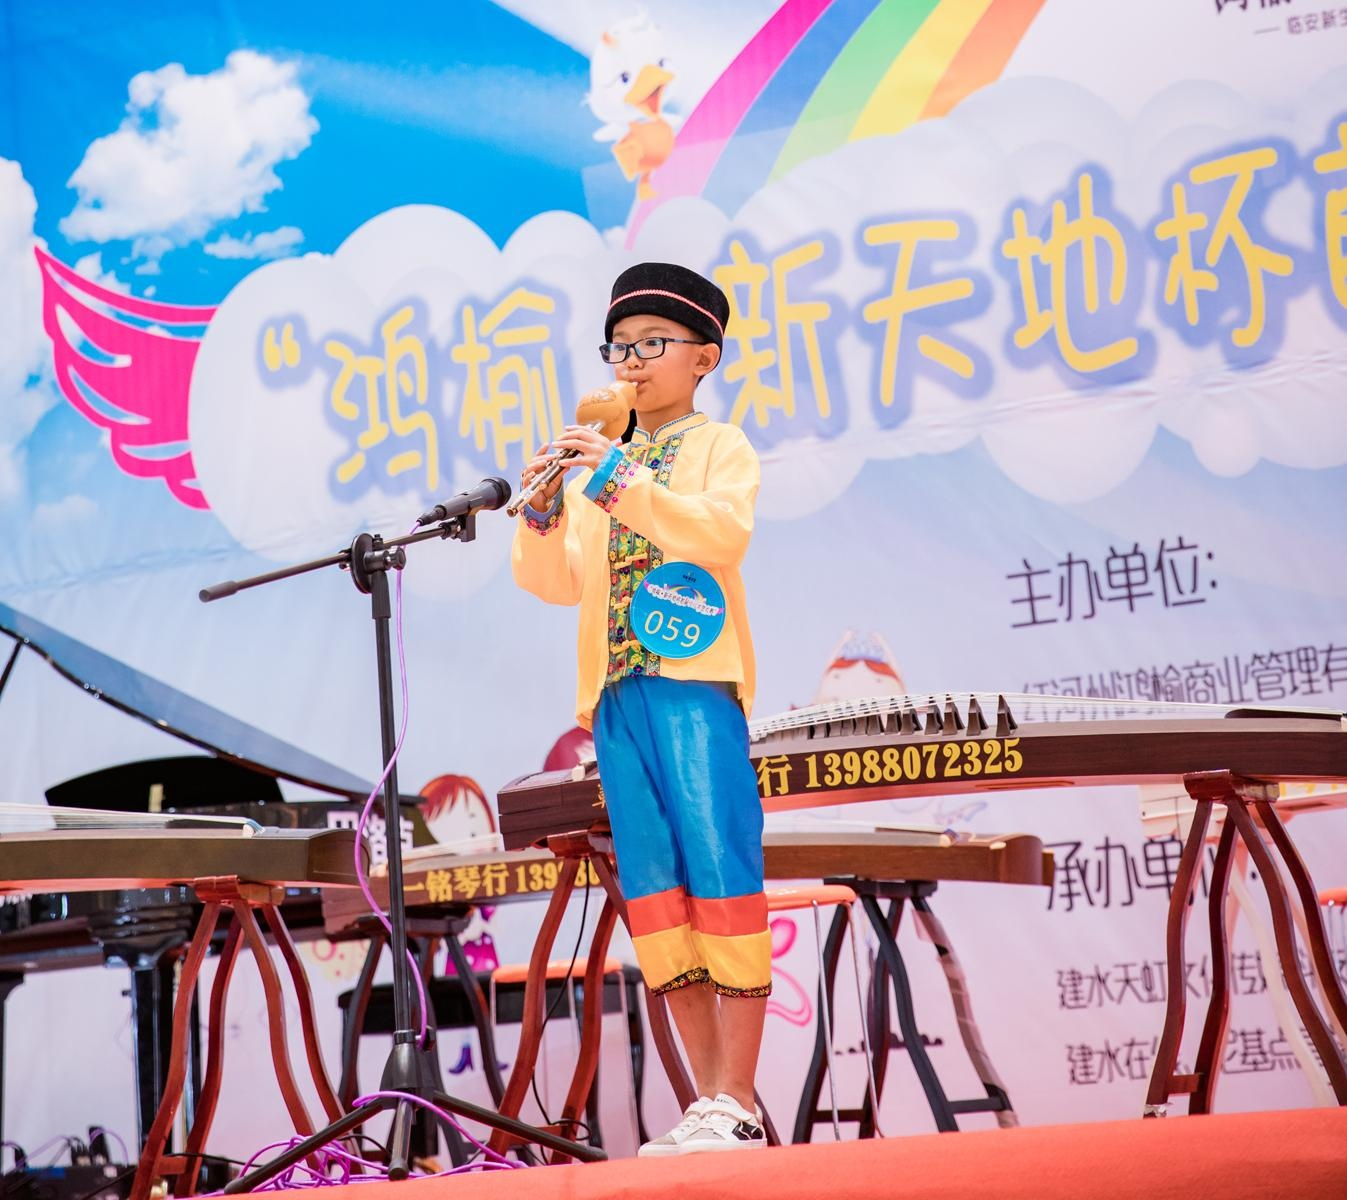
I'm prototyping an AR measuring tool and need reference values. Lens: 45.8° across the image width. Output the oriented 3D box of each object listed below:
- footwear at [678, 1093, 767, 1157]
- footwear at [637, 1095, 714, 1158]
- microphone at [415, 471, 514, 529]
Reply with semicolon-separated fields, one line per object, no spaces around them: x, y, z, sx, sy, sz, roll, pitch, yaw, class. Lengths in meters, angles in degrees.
0.067;0.800;2.419;0.068;0.078;0.159;-8;-20;23;footwear
0.001;0.822;2.498;0.060;0.089;0.190;-2;-15;30;footwear
-0.365;-0.176;2.744;0.152;0.108;0.206;0;-7;-11;microphone
